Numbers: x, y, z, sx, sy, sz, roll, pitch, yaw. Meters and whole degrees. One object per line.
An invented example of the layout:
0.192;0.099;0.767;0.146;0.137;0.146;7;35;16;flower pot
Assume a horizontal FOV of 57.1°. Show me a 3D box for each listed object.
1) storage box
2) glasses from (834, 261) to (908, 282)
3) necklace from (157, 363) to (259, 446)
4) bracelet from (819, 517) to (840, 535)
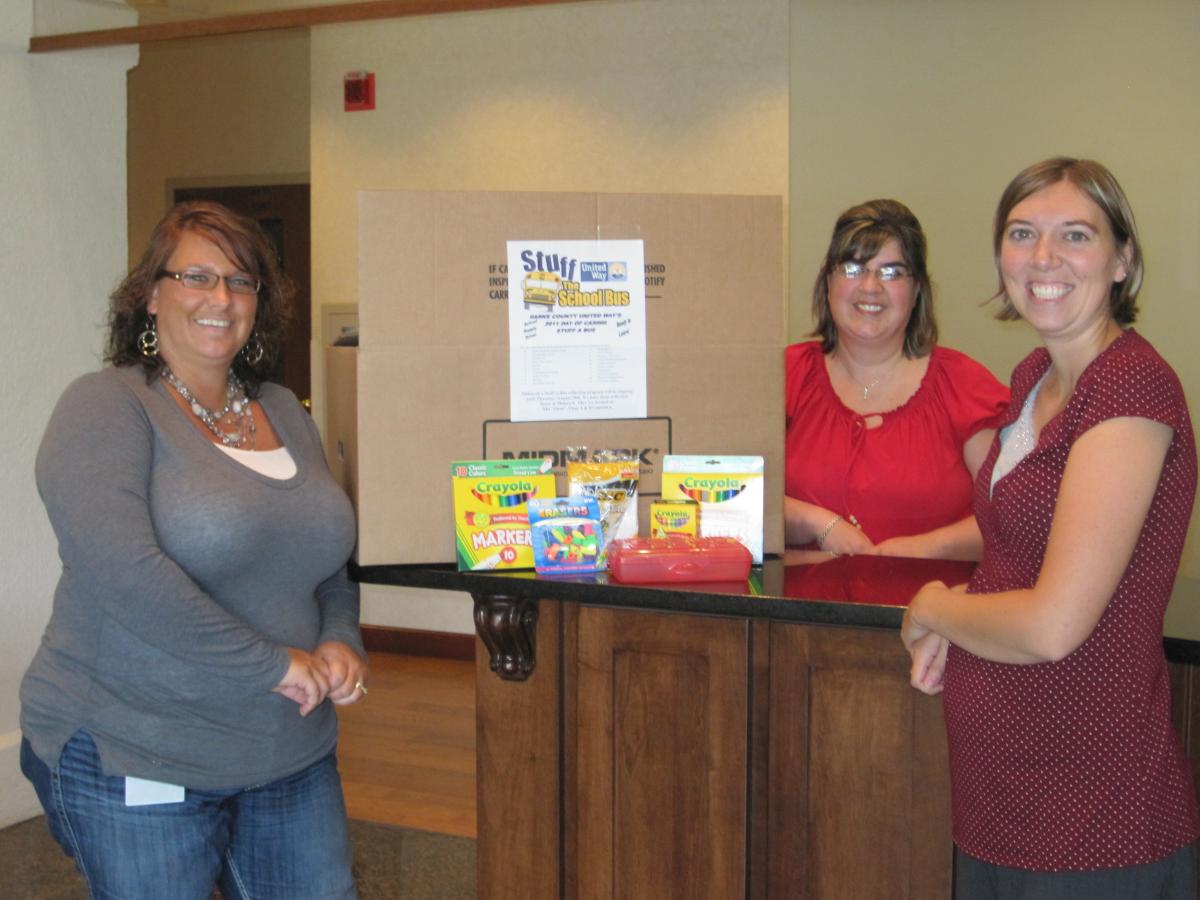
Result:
-0.067;-0.164;2.368;0.854;0.750;0.310;-2;14;-10;storage box
0.712;-0.466;2.883;0.171;0.047;0.034;0;12;7;glasses
-0.781;-0.079;2.229;0.039;0.172;0.129;-29;-5;30;necklace
0.553;0.186;2.657;0.030;0.007;0.031;-45;15;11;bracelet
